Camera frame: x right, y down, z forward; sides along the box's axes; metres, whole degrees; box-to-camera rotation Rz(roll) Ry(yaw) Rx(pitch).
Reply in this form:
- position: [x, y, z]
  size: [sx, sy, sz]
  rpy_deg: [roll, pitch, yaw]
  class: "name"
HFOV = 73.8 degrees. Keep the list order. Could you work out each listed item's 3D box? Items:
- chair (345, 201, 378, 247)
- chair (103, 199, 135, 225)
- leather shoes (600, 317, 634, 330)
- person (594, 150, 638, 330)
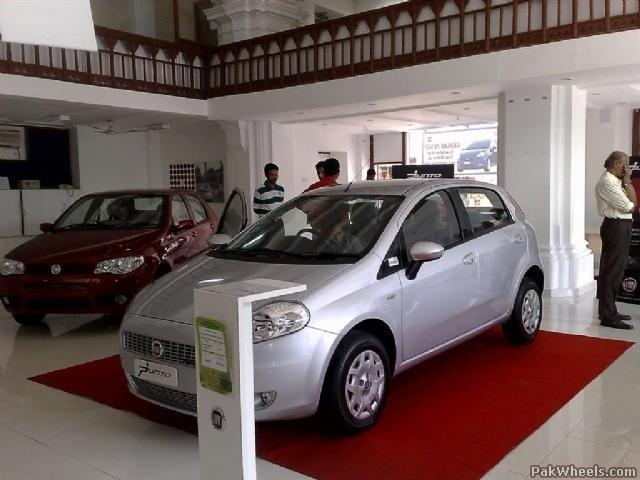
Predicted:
- position: [0.321, -0.110, 3.263]
  size: [0.284, 0.157, 0.597]
  rpy_deg: [7, 27, 5]
  class: "chair"
- position: [-2.748, -0.395, 6.051]
  size: [0.391, 0.356, 0.602]
  rpy_deg: [3, 0, -4]
  class: "chair"
- position: [3.597, 1.008, 5.228]
  size: [0.356, 0.164, 0.139]
  rpy_deg: [-1, 7, 25]
  class: "leather shoes"
- position: [3.541, 0.007, 5.153]
  size: [0.336, 2.103, 0.333]
  rpy_deg: [-2, 4, -13]
  class: "person"
